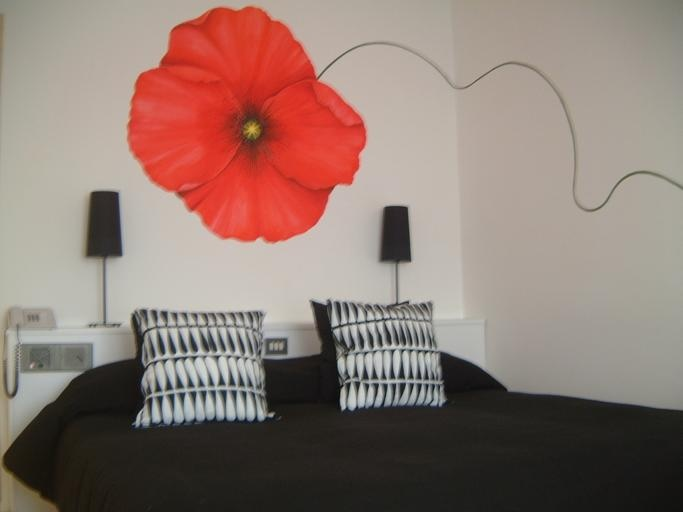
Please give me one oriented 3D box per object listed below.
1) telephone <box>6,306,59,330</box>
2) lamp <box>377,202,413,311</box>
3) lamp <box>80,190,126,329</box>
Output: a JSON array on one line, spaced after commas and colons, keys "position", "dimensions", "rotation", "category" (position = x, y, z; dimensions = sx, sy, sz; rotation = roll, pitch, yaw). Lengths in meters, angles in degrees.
[{"position": [-1.590, 0.312, 3.029], "dimensions": [0.191, 0.138, 0.062], "rotation": [1, -7, -18], "category": "telephone"}, {"position": [0.338, -0.019, 3.553], "dimensions": [0.209, 0.515, 0.226], "rotation": [-3, 1, -1], "category": "lamp"}, {"position": [-1.277, 0.001, 3.178], "dimensions": [0.200, 0.779, 0.263], "rotation": [-4, 1, -20], "category": "lamp"}]
